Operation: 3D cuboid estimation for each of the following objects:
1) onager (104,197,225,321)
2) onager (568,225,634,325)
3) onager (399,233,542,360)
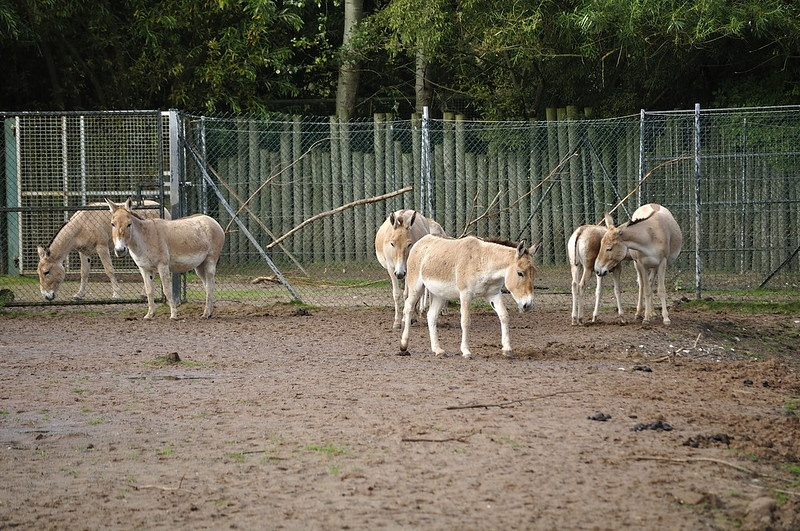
[{"bbox_3d":[-4.456,-0.054,19.166,0.859,2.350,2.834,0,0,33],"label":"onager"},{"bbox_3d":[4.030,0.103,19.261,0.703,2.242,2.547,-4,-8,38],"label":"onager"},{"bbox_3d":[1.118,0.534,16.237,2.762,2.113,0.853,2,1,44],"label":"onager"}]
